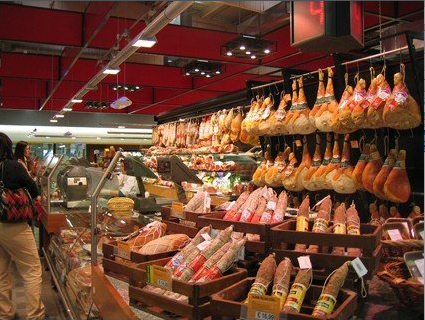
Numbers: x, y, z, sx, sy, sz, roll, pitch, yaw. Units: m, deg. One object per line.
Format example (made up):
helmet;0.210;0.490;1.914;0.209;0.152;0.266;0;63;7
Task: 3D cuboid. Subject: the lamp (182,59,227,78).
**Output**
lamp;-0.187;-2.310;8.005;0.860;0.376;0.642;0;0;-38

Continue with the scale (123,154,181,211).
scale;-0.649;0.235;3.109;0.451;0.532;0.392;0;-1;-12

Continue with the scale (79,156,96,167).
scale;-2.987;0.042;7.582;0.359;0.161;0.477;-4;15;-43

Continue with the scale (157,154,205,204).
scale;-0.303;0.165;3.031;0.330;0.427;0.535;0;0;-32

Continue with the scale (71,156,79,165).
scale;-2.721;0.022;6.235;0.148;0.175;0.589;-9;-4;-23
